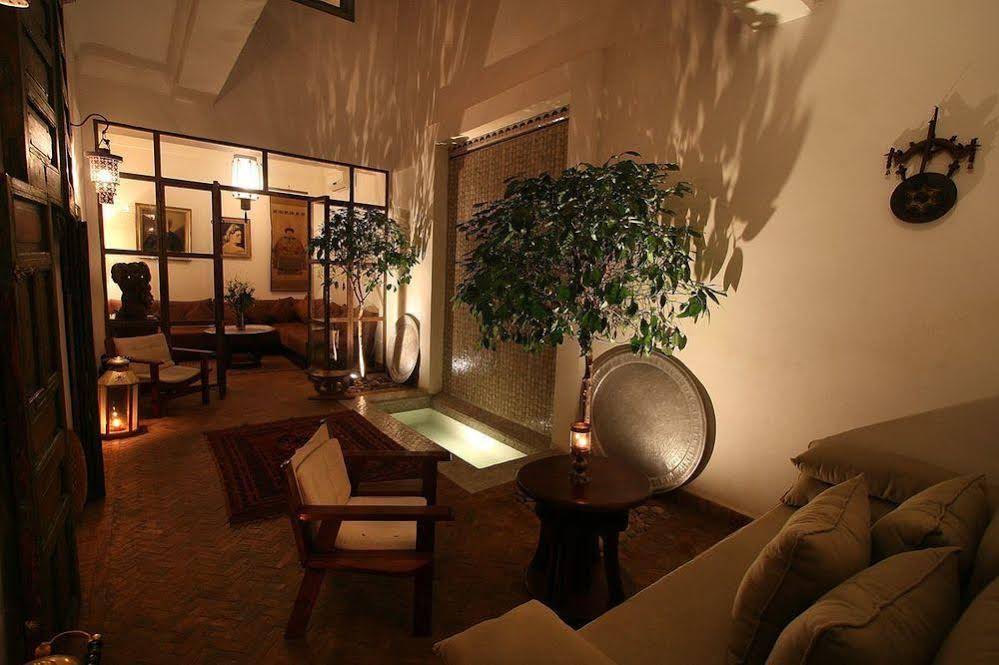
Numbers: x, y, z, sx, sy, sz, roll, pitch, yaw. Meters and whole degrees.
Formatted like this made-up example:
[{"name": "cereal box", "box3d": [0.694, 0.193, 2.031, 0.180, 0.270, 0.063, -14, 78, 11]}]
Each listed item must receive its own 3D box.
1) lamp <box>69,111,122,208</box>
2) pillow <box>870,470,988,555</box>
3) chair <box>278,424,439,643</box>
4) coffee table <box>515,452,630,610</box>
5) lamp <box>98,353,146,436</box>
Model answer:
[{"name": "lamp", "box3d": [-4.073, -1.754, 6.423, 0.371, 0.898, 0.822, -2, 7, -33]}, {"name": "pillow", "box3d": [2.017, 0.858, 2.965, 0.508, 0.176, 0.304, -17, 18, -42]}, {"name": "chair", "box3d": [-0.818, 1.195, 4.064, 0.891, 0.994, 1.158, 2, 6, -5]}, {"name": "coffee table", "box3d": [0.417, 1.390, 3.977, 0.674, 0.713, 0.710, 4, -13, 23]}, {"name": "lamp", "box3d": [-3.467, 0.595, 5.809, 0.281, 0.726, 0.382, 8, 8, 44]}]
